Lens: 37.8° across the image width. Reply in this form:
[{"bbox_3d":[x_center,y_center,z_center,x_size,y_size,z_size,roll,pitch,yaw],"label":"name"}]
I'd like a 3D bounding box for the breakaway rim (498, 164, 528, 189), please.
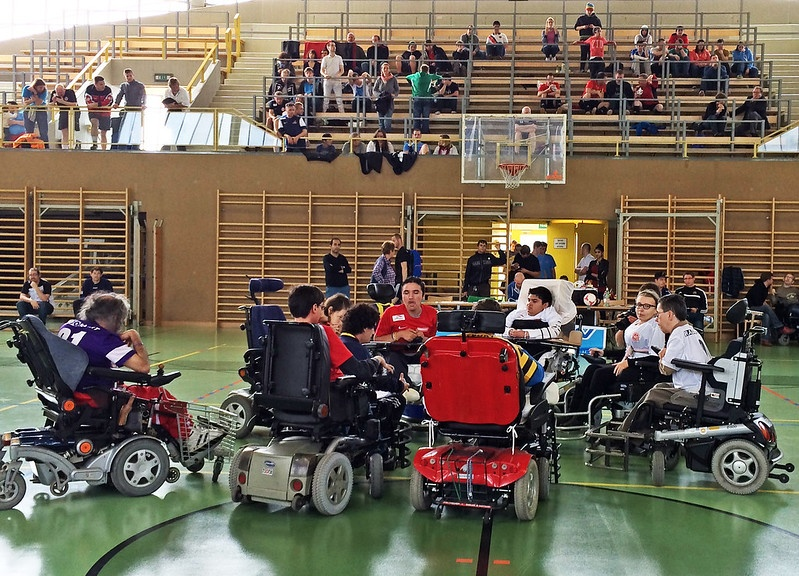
[{"bbox_3d":[2.385,-2.367,24.250,0.422,0.391,0.471,-1,-2,0],"label":"breakaway rim"}]

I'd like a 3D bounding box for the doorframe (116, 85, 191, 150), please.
[{"bbox_3d":[-5.777,-3.746,26.396,1.626,1.225,0.669,-1,4,-17],"label":"doorframe"}]

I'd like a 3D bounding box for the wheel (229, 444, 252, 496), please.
[{"bbox_3d":[-2.130,2.404,15.237,0.147,0.559,0.456,2,-12,8],"label":"wheel"}]

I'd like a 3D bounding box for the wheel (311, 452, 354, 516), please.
[{"bbox_3d":[-0.907,2.526,15.131,0.174,0.717,0.601,3,14,34],"label":"wheel"}]

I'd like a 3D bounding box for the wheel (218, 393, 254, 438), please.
[{"bbox_3d":[-2.349,1.810,16.610,0.575,0.718,0.228,3,4,10],"label":"wheel"}]

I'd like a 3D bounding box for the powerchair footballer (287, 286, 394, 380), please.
[{"bbox_3d":[-0.978,0.548,15.855,1.150,1.578,1.027,-14,6,-35],"label":"powerchair footballer"}]

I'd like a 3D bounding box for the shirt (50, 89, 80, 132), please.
[{"bbox_3d":[-7.730,-4.125,26.567,0.604,1.045,0.832,-1,4,-20],"label":"shirt"}]

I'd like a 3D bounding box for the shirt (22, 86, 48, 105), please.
[{"bbox_3d":[-8.459,-4.408,26.683,0.504,0.485,0.885,-1,4,-20],"label":"shirt"}]

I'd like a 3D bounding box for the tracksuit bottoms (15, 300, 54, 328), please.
[{"bbox_3d":[-6.872,0.433,21.641,0.402,0.647,0.488,1,-12,5],"label":"tracksuit bottoms"}]

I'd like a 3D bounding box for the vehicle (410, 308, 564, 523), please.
[{"bbox_3d":[1.070,1.634,15.083,1.502,2.908,2.689,0,5,13],"label":"vehicle"}]

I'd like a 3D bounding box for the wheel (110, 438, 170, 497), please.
[{"bbox_3d":[-3.515,2.347,15.417,0.583,0.765,0.213,5,-2,-14],"label":"wheel"}]

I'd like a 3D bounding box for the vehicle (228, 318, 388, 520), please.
[{"bbox_3d":[-1.206,1.668,15.298,1.979,2.492,0.713,0,3,-3],"label":"vehicle"}]

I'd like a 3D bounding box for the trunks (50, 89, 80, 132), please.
[{"bbox_3d":[-7.730,-4.125,26.567,0.605,1.045,0.832,-1,4,-20],"label":"trunks"}]

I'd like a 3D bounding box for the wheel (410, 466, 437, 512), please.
[{"bbox_3d":[0.328,2.587,15.156,0.150,0.525,0.475,1,-10,14],"label":"wheel"}]

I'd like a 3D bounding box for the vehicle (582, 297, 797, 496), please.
[{"bbox_3d":[4.382,1.502,16.936,2.794,2.999,1.892,2,-2,23],"label":"vehicle"}]

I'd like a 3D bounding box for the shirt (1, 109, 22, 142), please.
[{"bbox_3d":[-8.917,-3.737,26.708,0.574,0.854,0.536,1,3,-4],"label":"shirt"}]

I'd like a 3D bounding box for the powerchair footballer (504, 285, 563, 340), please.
[{"bbox_3d":[2.045,0.389,17.583,0.662,0.695,0.863,-3,-7,35],"label":"powerchair footballer"}]

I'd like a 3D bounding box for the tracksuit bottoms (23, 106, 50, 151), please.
[{"bbox_3d":[-8.377,-3.652,26.436,0.560,0.879,0.218,1,4,5],"label":"tracksuit bottoms"}]

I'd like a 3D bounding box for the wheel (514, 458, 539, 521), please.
[{"bbox_3d":[1.703,2.602,15.103,0.179,0.743,0.474,4,5,44],"label":"wheel"}]

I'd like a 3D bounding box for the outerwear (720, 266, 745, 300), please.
[{"bbox_3d":[7.310,-0.123,25.154,0.486,0.664,0.252,3,-5,3],"label":"outerwear"}]
